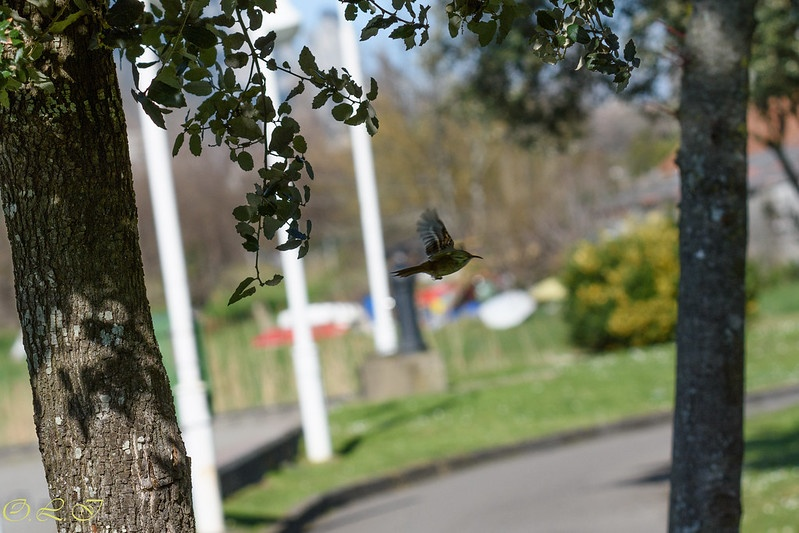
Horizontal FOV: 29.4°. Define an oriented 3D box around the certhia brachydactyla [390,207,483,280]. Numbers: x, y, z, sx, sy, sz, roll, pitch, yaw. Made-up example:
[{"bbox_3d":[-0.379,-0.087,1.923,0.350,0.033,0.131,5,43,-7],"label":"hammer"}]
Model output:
[{"bbox_3d":[0.165,-0.114,8.512,0.390,0.249,0.433,-2,4,7],"label":"certhia brachydactyla"}]
